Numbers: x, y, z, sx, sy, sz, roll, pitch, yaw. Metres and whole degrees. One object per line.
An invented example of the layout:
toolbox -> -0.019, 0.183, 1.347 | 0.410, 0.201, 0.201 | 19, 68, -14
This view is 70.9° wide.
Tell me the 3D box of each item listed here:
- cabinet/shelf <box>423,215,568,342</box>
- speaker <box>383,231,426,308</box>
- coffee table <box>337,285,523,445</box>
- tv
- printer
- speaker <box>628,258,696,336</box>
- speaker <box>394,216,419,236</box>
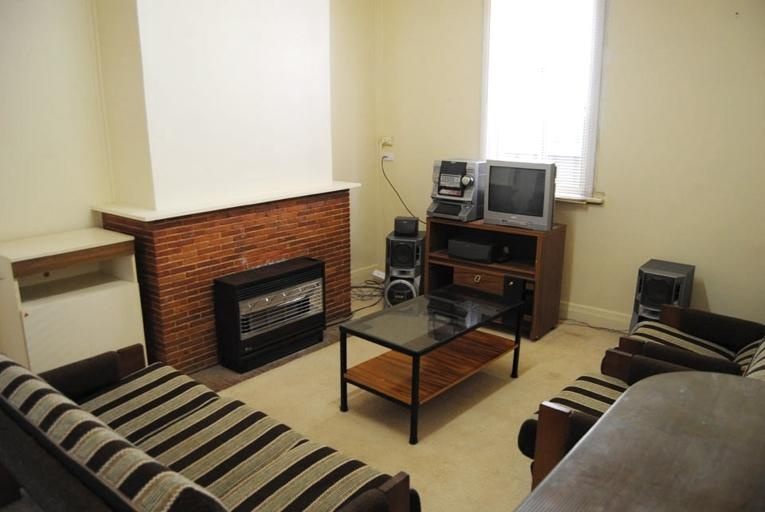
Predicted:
cabinet/shelf -> 1.048, 0.202, 4.786 | 1.079, 0.862, 0.584 | 7, 11, 34
speaker -> 0.223, 0.160, 5.429 | 0.458, 0.697, 0.446 | 7, 12, 26
coffee table -> 0.421, 0.743, 4.161 | 0.787, 0.599, 1.454 | 11, 16, 37
tv -> 1.227, -0.539, 4.791 | 0.589, 0.523, 0.340 | 9, 15, 35
printer -> 0.753, -0.659, 5.241 | 0.533, 0.531, 0.578 | -11, 17, -31
speaker -> 2.369, 0.383, 4.563 | 0.355, 0.627, 0.354 | 15, 27, 39
speaker -> 0.232, -0.294, 5.285 | 0.240, 0.180, 0.147 | -1, 19, -1
